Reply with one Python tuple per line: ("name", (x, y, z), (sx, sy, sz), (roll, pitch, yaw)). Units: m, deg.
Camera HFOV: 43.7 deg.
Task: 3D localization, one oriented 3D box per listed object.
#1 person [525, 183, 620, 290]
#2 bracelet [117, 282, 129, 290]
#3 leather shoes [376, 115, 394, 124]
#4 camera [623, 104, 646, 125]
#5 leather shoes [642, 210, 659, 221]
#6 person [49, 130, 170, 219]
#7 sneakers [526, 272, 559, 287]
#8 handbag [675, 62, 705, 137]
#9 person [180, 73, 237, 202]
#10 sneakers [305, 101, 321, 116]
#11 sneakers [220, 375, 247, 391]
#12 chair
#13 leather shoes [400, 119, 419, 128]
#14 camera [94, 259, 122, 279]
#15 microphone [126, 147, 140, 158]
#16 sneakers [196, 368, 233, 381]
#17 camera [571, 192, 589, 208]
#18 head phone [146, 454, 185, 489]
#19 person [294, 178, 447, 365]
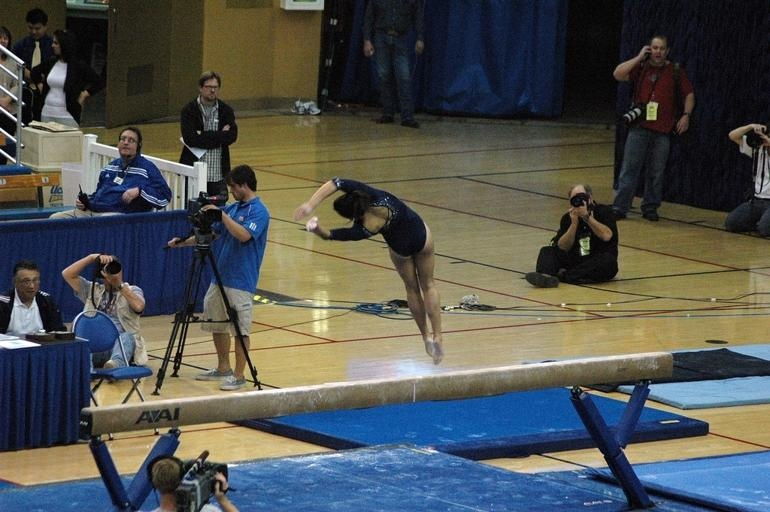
("person", (2.185, -0.225, 11.068), (1.362, 1.076, 0.907), (-5, 3, -39))
("bracelet", (-2.286, 0.249, 8.372), (0.079, 0.046, 0.072), (-1, 19, -45))
("leather shoes", (-0.004, -2.940, 20.651), (0.443, 0.163, 0.142), (3, 5, 6))
("camera", (3.487, -1.985, 13.422), (0.207, 0.136, 0.338), (15, 29, 29))
("leather shoes", (3.855, -0.586, 13.985), (0.114, 0.105, 0.283), (0, 0, -12))
("person", (-2.967, -0.813, 10.207), (1.116, 0.922, 1.416), (13, 18, 37))
("sneakers", (1.784, 0.262, 10.999), (0.361, 0.141, 0.157), (18, 20, 1))
("handbag", (4.238, -2.250, 13.713), (0.317, 0.971, 0.611), (7, 14, 17))
("person", (-2.235, -1.219, 11.931), (0.725, 1.982, 0.633), (1, 25, -13))
("sneakers", (-1.656, -3.357, 21.799), (0.312, 0.139, 0.373), (0, 3, -16))
("sneakers", (-1.286, 1.081, 8.148), (0.092, 0.077, 0.238), (0, -2, 39))
("chair", (-2.214, 0.904, 7.769), (0.666, 0.807, 0.523), (14, 8, 36))
("leather shoes", (0.535, -2.804, 20.200), (0.442, 0.169, 0.150), (5, 13, 33))
("camera", (-2.396, 0.098, 8.272), (0.195, 0.110, 0.188), (-13, -21, 43))
("microphone", (-2.664, -1.097, 10.096), (0.080, 0.072, 0.096), (0, -29, 6))
("sneakers", (-1.483, 1.023, 8.375), (0.325, 0.102, 0.119), (1, -3, -1))
("camera", (2.172, -0.630, 10.760), (0.187, 0.165, 0.093), (-9, -15, 5))
("head phone", (-1.086, 1.053, 4.737), (0.186, 0.176, 0.190), (-2, 29, -20))
("person", (0.000, 0.132, 8.492), (1.252, 1.626, 0.903), (-10, 19, -44))
